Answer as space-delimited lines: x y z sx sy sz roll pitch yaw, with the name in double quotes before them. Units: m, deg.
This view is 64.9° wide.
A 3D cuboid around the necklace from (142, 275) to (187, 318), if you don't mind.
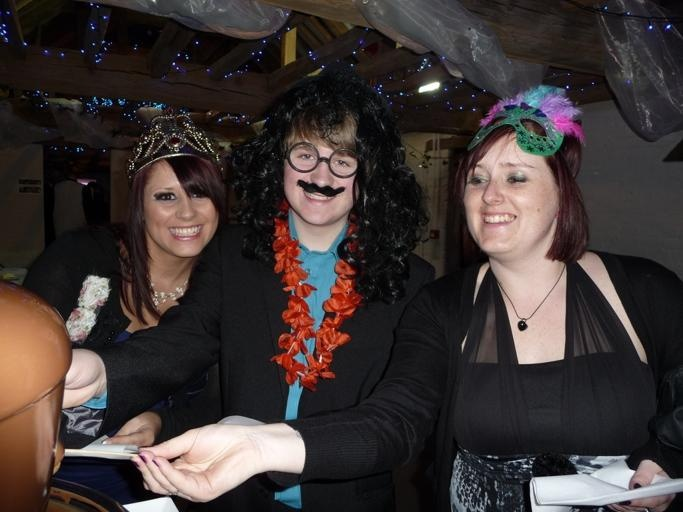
"necklace" -0.877 0.203 2.667 0.177 0.106 0.201 2 39 -9
